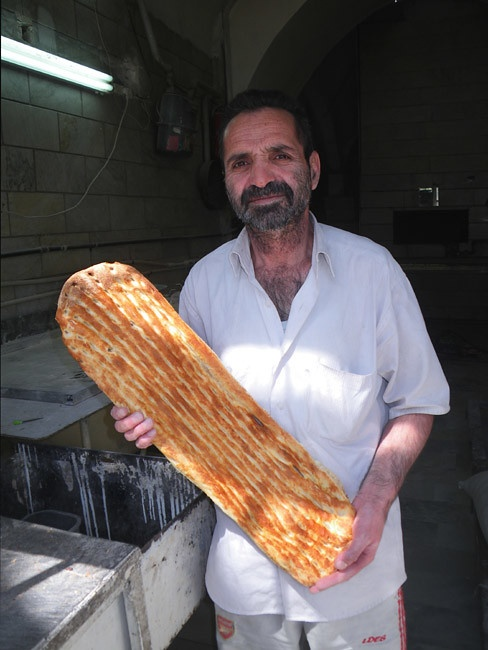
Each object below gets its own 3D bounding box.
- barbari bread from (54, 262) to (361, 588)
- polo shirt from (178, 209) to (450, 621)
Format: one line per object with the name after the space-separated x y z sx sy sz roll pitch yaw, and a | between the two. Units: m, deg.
-0.055 0.175 0.963 0.468 0.557 0.132 -3 13 12 | barbari bread
0.117 0.185 1.192 0.630 0.743 0.295 3 13 16 | polo shirt
